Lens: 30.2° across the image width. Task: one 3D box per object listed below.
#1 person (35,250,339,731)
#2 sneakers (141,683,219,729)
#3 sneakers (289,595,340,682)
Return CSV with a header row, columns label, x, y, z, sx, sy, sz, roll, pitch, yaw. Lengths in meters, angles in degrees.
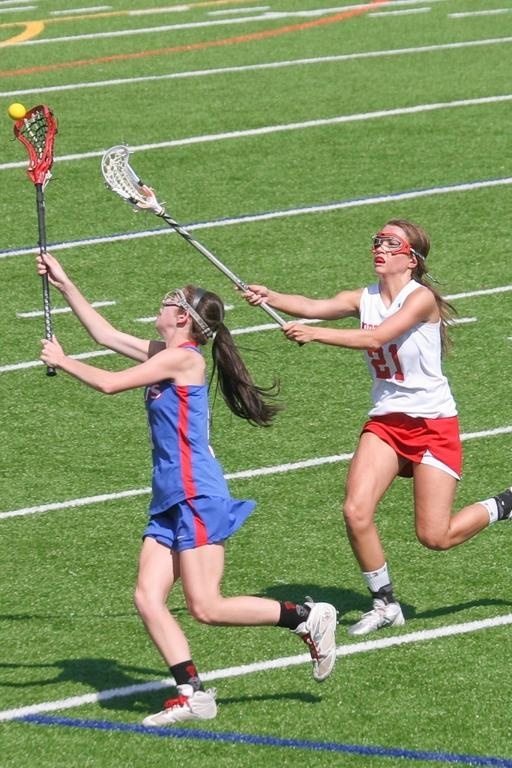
label,x,y,z,sx,sy,sz,roll,pitch,yaw
person,-0.237,0.463,3.734,0.853,1.696,1.267,-13,27,-5
sneakers,-0.235,1.157,3.478,0.373,0.150,0.124,-4,10,-4
sneakers,0.228,0.975,3.726,0.207,0.322,0.126,-6,3,-19
